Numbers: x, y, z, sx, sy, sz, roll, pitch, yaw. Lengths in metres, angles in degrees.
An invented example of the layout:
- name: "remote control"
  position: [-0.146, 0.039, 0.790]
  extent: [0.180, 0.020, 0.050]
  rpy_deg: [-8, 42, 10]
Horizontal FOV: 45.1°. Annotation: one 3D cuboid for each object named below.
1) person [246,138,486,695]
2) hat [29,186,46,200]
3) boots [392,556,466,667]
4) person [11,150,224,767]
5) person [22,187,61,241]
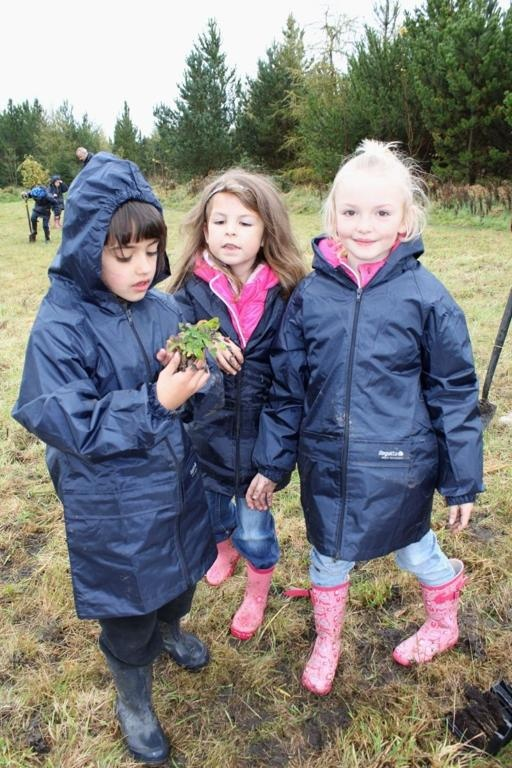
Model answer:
- name: "person"
  position: [0.347, 0.145, 2.021]
  extent: [0.749, 1.812, 0.474]
  rpy_deg: [3, 15, 20]
- name: "hat"
  position: [-4.068, -3.602, 11.543]
  extent: [0.246, 0.149, 0.329]
  rpy_deg: [-11, 44, -18]
- name: "boots"
  position: [0.616, 0.832, 2.224]
  extent: [0.286, 0.310, 0.131]
  rpy_deg: [-12, 15, -12]
- name: "person"
  position: [-0.331, 0.283, 1.754]
  extent: [0.410, 1.806, 0.633]
  rpy_deg: [3, 15, 19]
- name: "person"
  position: [-4.134, -3.306, 11.787]
  extent: [0.615, 1.138, 0.431]
  rpy_deg: [3, 39, -17]
